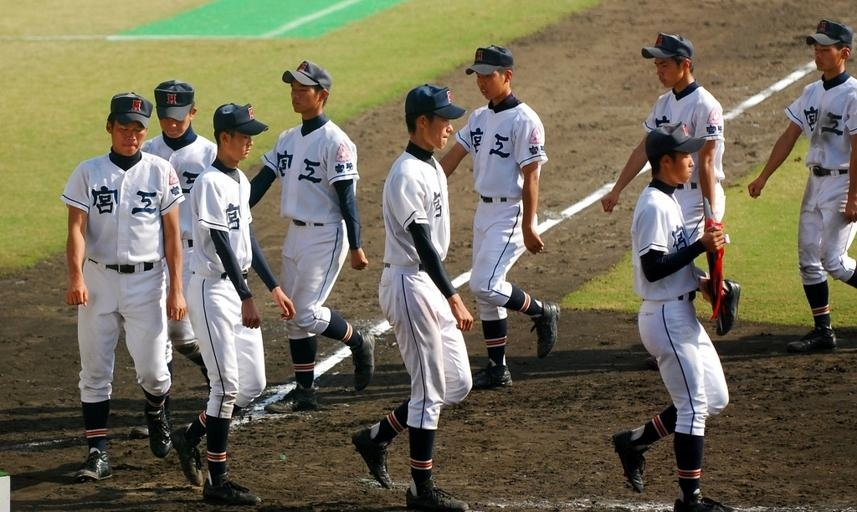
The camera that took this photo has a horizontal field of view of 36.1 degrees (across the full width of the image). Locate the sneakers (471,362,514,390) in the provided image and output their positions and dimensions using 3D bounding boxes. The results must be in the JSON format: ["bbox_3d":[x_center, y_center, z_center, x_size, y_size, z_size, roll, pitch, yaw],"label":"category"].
[{"bbox_3d":[0.811,1.494,16.385,0.673,0.216,0.211,-1,10,-7],"label":"sneakers"}]

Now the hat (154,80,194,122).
[{"bbox_3d":[-3.112,-1.904,15.982,0.588,0.275,0.690,0,20,-3],"label":"hat"}]

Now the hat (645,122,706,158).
[{"bbox_3d":[2.716,-1.266,14.324,0.621,0.187,0.348,-5,23,-3],"label":"hat"}]

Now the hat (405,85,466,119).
[{"bbox_3d":[0.070,-1.741,14.544,0.786,0.283,0.474,4,21,-6],"label":"hat"}]

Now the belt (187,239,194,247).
[{"bbox_3d":[-2.884,-0.165,15.877,0.122,0.080,0.025,3,3,-8],"label":"belt"}]

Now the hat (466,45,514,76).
[{"bbox_3d":[0.848,-2.421,16.360,0.632,0.244,0.377,-8,18,-31],"label":"hat"}]

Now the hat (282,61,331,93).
[{"bbox_3d":[-1.401,-2.176,15.976,0.580,0.218,0.378,8,4,-25],"label":"hat"}]

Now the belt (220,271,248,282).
[{"bbox_3d":[-2.158,0.221,14.652,0.201,0.051,0.125,-2,8,3],"label":"belt"}]

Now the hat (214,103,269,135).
[{"bbox_3d":[-2.131,-1.518,14.808,0.754,0.281,0.398,0,1,-1],"label":"hat"}]

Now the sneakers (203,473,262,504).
[{"bbox_3d":[-2.190,2.554,14.521,0.811,0.244,0.241,4,0,9],"label":"sneakers"}]

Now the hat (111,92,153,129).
[{"bbox_3d":[-3.390,-1.684,14.965,0.502,0.282,0.579,3,17,-31],"label":"hat"}]

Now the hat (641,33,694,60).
[{"bbox_3d":[3.024,-2.624,16.503,0.702,0.274,0.388,0,12,1],"label":"hat"}]

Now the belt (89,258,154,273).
[{"bbox_3d":[-3.444,0.111,14.916,0.679,0.133,0.112,-3,11,-8],"label":"belt"}]

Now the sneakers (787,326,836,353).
[{"bbox_3d":[4.928,1.060,16.662,0.795,0.240,0.248,0,1,-2],"label":"sneakers"}]

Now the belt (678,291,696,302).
[{"bbox_3d":[2.835,0.429,14.332,0.178,0.056,0.118,-5,-7,14],"label":"belt"}]
